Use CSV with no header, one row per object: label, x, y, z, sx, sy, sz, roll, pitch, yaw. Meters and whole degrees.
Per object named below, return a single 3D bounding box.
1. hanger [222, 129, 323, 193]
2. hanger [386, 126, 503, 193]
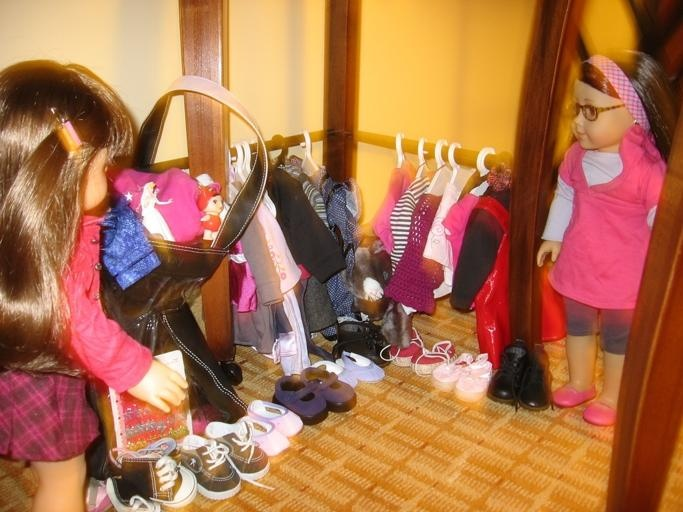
hanger,-0.193,-0.390,1.923,0.302,0.206,0.212,-10,7,-42
hanger,0.342,-0.340,1.786,0.476,0.188,0.157,22,32,32
